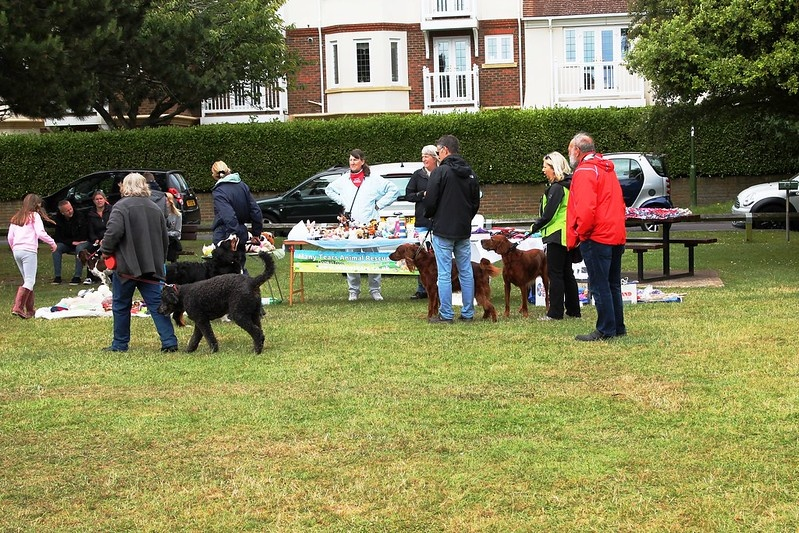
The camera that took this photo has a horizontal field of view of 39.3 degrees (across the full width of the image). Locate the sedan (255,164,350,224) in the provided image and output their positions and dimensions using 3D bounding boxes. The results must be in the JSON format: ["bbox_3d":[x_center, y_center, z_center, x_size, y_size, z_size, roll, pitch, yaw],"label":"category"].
[{"bbox_3d":[-2.569,-1.883,29.743,2.400,1.277,1.372,3,3,2],"label":"sedan"}]

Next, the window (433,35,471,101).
[{"bbox_3d":[1.833,-6.865,38.895,1.315,2.316,0.407,-1,2,2],"label":"window"}]

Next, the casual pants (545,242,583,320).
[{"bbox_3d":[2.528,0.095,17.308,0.414,1.365,0.325,-3,-1,-24],"label":"casual pants"}]

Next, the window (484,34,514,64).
[{"bbox_3d":[3.458,-7.551,38.747,1.044,0.970,0.076,-1,4,5],"label":"window"}]

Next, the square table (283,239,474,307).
[{"bbox_3d":[-0.767,0.079,19.458,2.545,0.974,0.776,1,-2,-14],"label":"square table"}]

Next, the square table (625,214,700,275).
[{"bbox_3d":[4.978,-0.312,20.815,1.377,0.786,1.619,2,7,25],"label":"square table"}]

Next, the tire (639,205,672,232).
[{"bbox_3d":[5.175,-0.987,22.564,0.768,0.538,1.187,-2,6,3],"label":"tire"}]

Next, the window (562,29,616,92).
[{"bbox_3d":[6.532,-7.053,38.343,2.236,2.653,0.378,-1,-4,14],"label":"window"}]

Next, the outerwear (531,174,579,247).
[{"bbox_3d":[2.150,-0.847,17.084,0.869,1.267,1.034,4,1,19],"label":"outerwear"}]

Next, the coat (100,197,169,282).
[{"bbox_3d":[-3.856,-0.441,16.419,0.921,1.184,1.066,-8,-4,40],"label":"coat"}]

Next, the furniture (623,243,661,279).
[{"bbox_3d":[4.436,-0.192,20.547,0.789,0.739,0.794,2,6,14],"label":"furniture"}]

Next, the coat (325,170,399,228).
[{"bbox_3d":[-0.683,-1.209,19.616,1.323,1.019,0.485,-1,-6,5],"label":"coat"}]

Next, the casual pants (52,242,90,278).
[{"bbox_3d":[-6.805,-0.147,22.898,0.781,0.961,0.774,0,-15,-8],"label":"casual pants"}]

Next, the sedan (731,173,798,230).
[{"bbox_3d":[9.453,-1.629,28.880,2.364,1.142,1.199,3,7,5],"label":"sedan"}]

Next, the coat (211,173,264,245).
[{"bbox_3d":[-2.695,-0.973,18.399,0.865,1.116,0.743,-8,8,-35],"label":"coat"}]

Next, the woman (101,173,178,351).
[{"bbox_3d":[-3.841,-0.084,16.426,1.142,2.625,0.976,1,-7,-16],"label":"woman"}]

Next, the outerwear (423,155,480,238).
[{"bbox_3d":[0.798,-1.057,17.080,0.866,1.282,0.376,-4,6,-6],"label":"outerwear"}]
